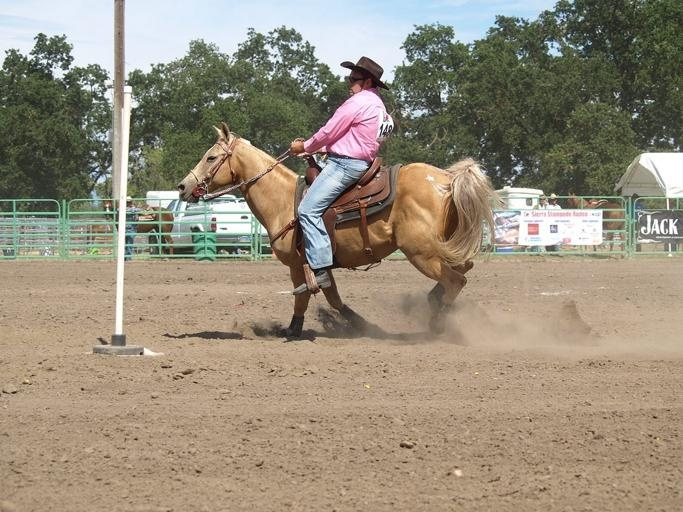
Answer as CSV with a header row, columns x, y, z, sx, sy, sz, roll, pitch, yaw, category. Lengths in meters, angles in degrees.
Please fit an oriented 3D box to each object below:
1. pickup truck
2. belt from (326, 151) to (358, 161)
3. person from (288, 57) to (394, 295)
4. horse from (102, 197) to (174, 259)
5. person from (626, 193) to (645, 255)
x,y,z,sx,sy,sz,roll,pitch,yaw,category
-3.670,-0.818,25.145,1.959,1.119,3.523,-1,3,-37,pickup truck
-0.053,-1.143,10.433,0.382,0.087,0.176,1,1,42,belt
-0.016,-0.957,10.445,1.155,2.641,0.462,1,1,-2,person
-5.552,-0.886,24.357,0.600,1.298,2.449,-12,-13,43,horse
8.113,-0.896,25.330,0.372,1.535,0.859,1,1,21,person
